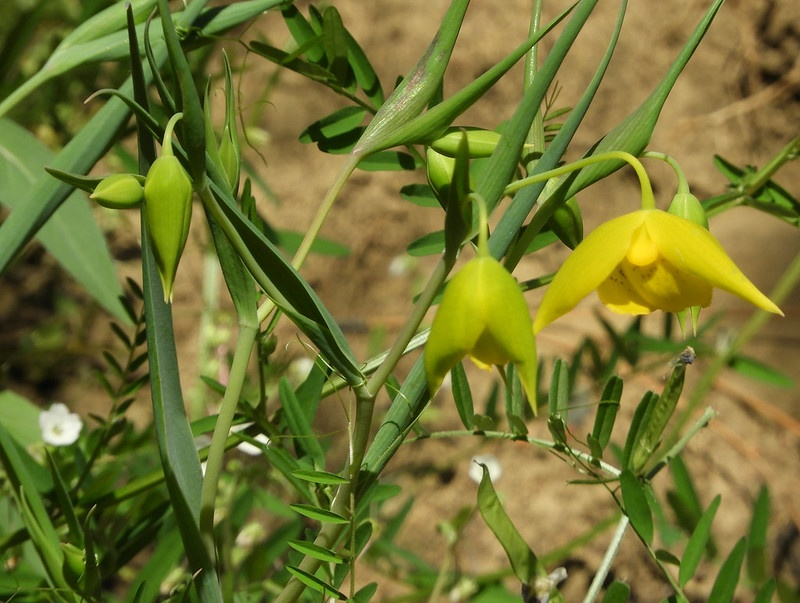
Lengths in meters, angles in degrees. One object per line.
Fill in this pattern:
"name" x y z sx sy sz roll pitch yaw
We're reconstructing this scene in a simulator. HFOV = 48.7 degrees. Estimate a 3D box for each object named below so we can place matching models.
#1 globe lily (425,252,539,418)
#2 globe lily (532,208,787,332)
"globe lily" 0.122 0.077 1.169 0.181 0.266 0.162 -3 -19 6
"globe lily" 0.403 -0.066 1.264 0.234 0.163 0.372 -8 1 -25
